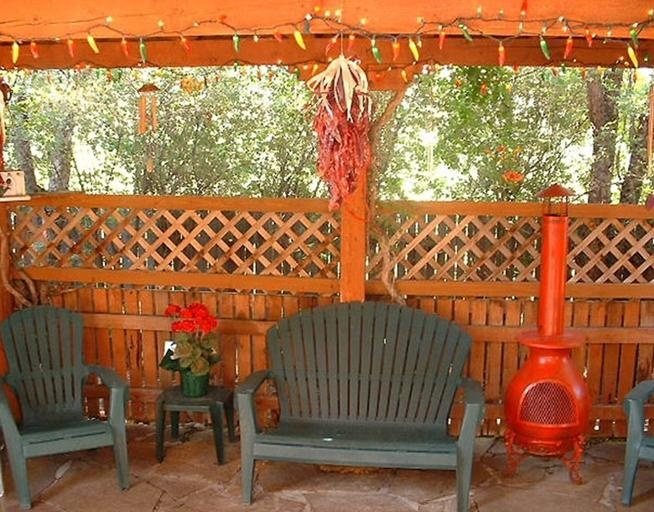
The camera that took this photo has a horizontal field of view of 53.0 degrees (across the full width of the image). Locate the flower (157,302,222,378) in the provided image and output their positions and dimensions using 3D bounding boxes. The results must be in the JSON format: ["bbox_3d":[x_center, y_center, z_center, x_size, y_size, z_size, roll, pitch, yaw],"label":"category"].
[{"bbox_3d":[-0.983,0.640,4.668,0.401,0.634,0.578,-2,12,-11],"label":"flower"}]

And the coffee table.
[{"bbox_3d":[-0.906,1.153,4.606,0.582,0.390,0.513,0,-3,1],"label":"coffee table"}]

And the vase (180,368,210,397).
[{"bbox_3d":[-0.896,0.854,4.437,0.203,0.146,0.208,1,-4,-10],"label":"vase"}]
